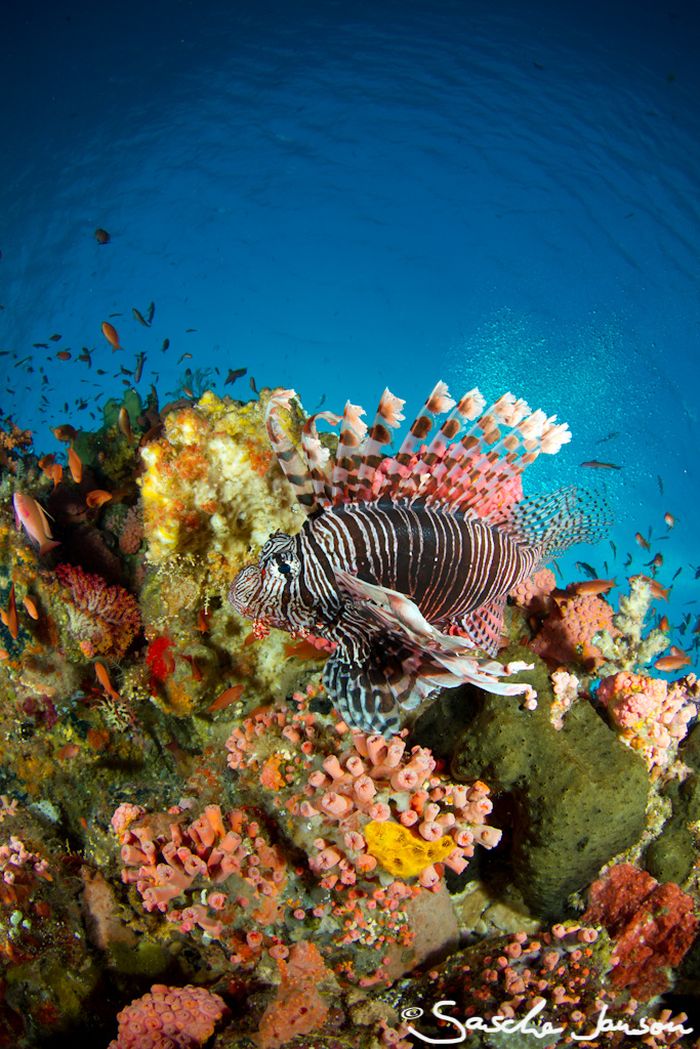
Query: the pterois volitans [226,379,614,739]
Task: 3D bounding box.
[{"bbox_3d":[0.414,0.029,4.739,2.253,1.404,1.607,-5,17,-31],"label":"pterois volitans"}]
